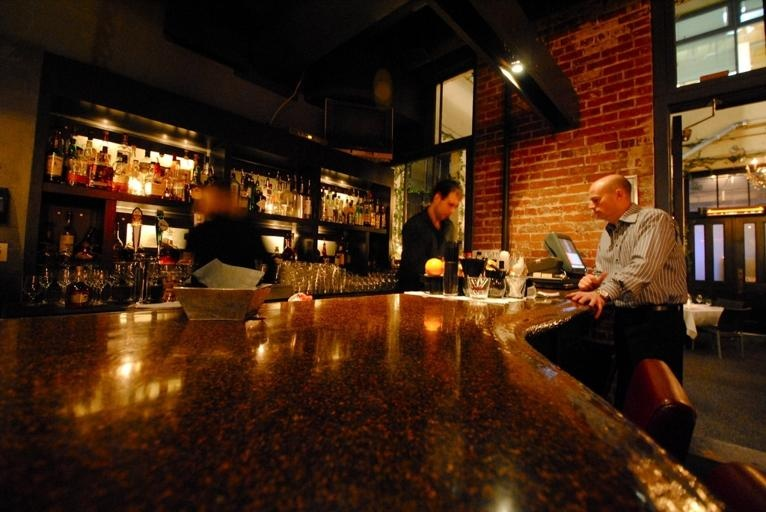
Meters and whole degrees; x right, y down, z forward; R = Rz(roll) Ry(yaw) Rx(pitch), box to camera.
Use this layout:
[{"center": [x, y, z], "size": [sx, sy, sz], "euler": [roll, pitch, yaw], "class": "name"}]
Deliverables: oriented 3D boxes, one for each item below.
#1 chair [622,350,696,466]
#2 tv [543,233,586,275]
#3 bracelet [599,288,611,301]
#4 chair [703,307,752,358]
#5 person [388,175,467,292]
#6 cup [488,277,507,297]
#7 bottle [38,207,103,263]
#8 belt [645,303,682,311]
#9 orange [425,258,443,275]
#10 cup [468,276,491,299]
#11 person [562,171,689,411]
[{"center": [1.645, 0.926, 3.216], "size": [0.301, 0.450, 0.332], "euler": [2, 0, -11], "class": "chair"}, {"center": [1.818, 0.058, 5.453], "size": [0.133, 0.493, 0.467], "euler": [-25, 31, 20], "class": "tv"}, {"center": [1.786, 0.307, 4.265], "size": [0.090, 0.090, 0.022], "euler": [11, -37, -4], "class": "bracelet"}, {"center": [4.409, 0.875, 6.870], "size": [0.471, 0.396, 0.464], "euler": [2, -1, 30], "class": "chair"}, {"center": [0.511, -0.230, 5.280], "size": [0.631, 1.045, 1.001], "euler": [2, 0, -7], "class": "person"}, {"center": [0.888, 0.247, 4.131], "size": [0.140, 0.134, 0.136], "euler": [1, -5, 0], "class": "cup"}, {"center": [-2.733, -0.176, 4.617], "size": [0.249, 0.775, 0.446], "euler": [-1, 3, 36], "class": "bottle"}, {"center": [2.363, 0.434, 4.493], "size": [0.280, 0.044, 0.042], "euler": [2, 0, 1], "class": "belt"}, {"center": [0.409, 0.084, 4.316], "size": [0.127, 0.132, 0.130], "euler": [-13, 18, 2], "class": "orange"}, {"center": [0.735, 0.242, 4.111], "size": [0.165, 0.140, 0.160], "euler": [0, -4, 0], "class": "cup"}, {"center": [2.028, 0.300, 4.615], "size": [1.170, 1.547, 0.730], "euler": [2, -1, -30], "class": "person"}]
